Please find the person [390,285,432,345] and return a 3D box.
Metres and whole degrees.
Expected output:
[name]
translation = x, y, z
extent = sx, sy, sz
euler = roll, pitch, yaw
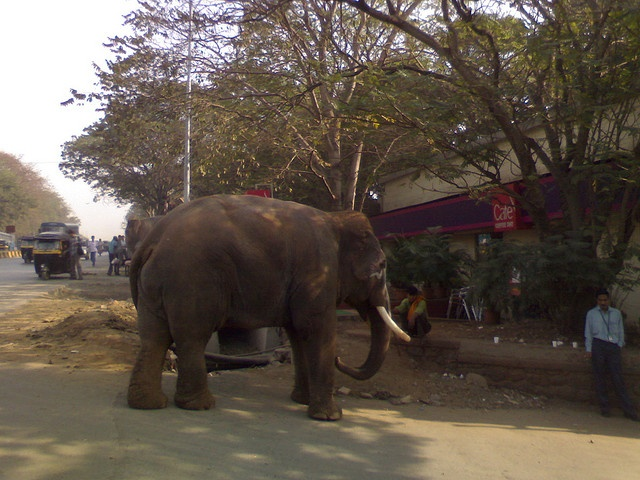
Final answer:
[person]
translation = 1.892, 1.574, 10.630
extent = 0.966, 0.977, 0.841
euler = -6, 0, 9
